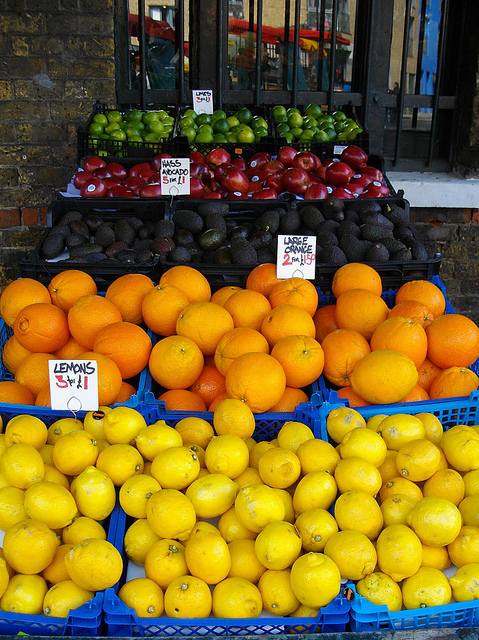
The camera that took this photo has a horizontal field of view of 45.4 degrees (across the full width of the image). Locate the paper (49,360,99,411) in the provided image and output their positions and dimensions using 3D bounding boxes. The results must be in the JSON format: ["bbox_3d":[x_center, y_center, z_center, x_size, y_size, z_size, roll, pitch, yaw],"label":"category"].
[{"bbox_3d":[-0.385,0.150,1.336,0.144,0.133,0.008,-1,16,-4],"label":"paper"}]

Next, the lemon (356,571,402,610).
[{"bbox_3d":[0.230,0.441,0.932,0.074,0.050,0.054,6,26,-21],"label":"lemon"}]

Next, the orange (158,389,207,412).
[{"bbox_3d":[-0.145,0.206,1.456,0.080,0.067,0.070,1,13,1],"label":"orange"}]

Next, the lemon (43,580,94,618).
[{"bbox_3d":[-0.275,0.443,0.905,0.051,0.047,0.069,-8,-14,39],"label":"lemon"}]

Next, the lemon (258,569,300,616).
[{"bbox_3d":[0.063,0.447,0.932,0.078,0.067,0.082,4,41,-3],"label":"lemon"}]

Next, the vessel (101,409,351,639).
[{"bbox_3d":[-0.059,0.299,1.005,0.333,0.109,0.383,0,28,1],"label":"vessel"}]

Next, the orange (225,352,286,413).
[{"bbox_3d":[0.045,0.148,1.365,0.129,0.126,0.122,-9,0,-28],"label":"orange"}]

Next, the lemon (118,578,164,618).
[{"bbox_3d":[-0.154,0.441,0.905,0.055,0.040,0.042,20,-7,9],"label":"lemon"}]

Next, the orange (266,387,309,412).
[{"bbox_3d":[0.128,0.201,1.485,0.071,0.066,0.081,31,16,-2],"label":"orange"}]

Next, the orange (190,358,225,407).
[{"bbox_3d":[-0.077,0.174,1.539,0.109,0.112,0.100,0,-9,-4],"label":"orange"}]

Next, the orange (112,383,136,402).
[{"bbox_3d":[-0.299,0.193,1.524,0.054,0.055,0.050,0,-14,-2],"label":"orange"}]

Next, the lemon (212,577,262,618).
[{"bbox_3d":[-0.004,0.439,0.901,0.070,0.072,0.063,7,-6,-16],"label":"lemon"}]

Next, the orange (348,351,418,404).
[{"bbox_3d":[0.342,0.136,1.423,0.127,0.112,0.158,29,-41,-32],"label":"orange"}]

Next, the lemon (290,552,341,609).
[{"bbox_3d":[0.117,0.411,0.896,0.075,0.080,0.057,3,21,5],"label":"lemon"}]

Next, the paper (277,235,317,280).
[{"bbox_3d":[0.185,-0.209,1.891,0.165,0.141,0.038,-4,13,-28],"label":"paper"}]

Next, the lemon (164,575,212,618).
[{"bbox_3d":[-0.080,0.431,0.886,0.074,0.064,0.064,-9,-28,-1],"label":"lemon"}]

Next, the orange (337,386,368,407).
[{"bbox_3d":[0.295,0.199,1.495,0.057,0.049,0.052,-6,13,-23],"label":"orange"}]
